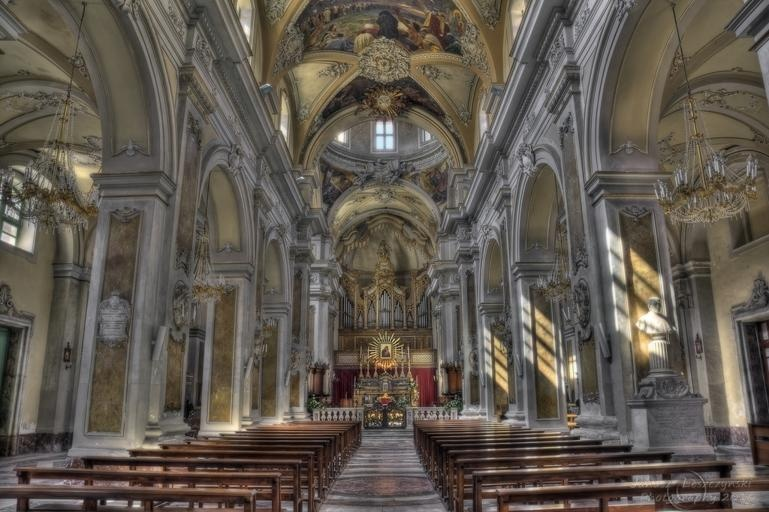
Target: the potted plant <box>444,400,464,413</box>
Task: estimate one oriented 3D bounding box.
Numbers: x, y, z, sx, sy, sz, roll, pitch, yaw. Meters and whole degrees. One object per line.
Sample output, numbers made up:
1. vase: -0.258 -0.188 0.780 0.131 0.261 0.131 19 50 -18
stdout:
1. potted plant: 2.888 6.133 22.675 0.539 0.426 0.518 -4 -13 31
